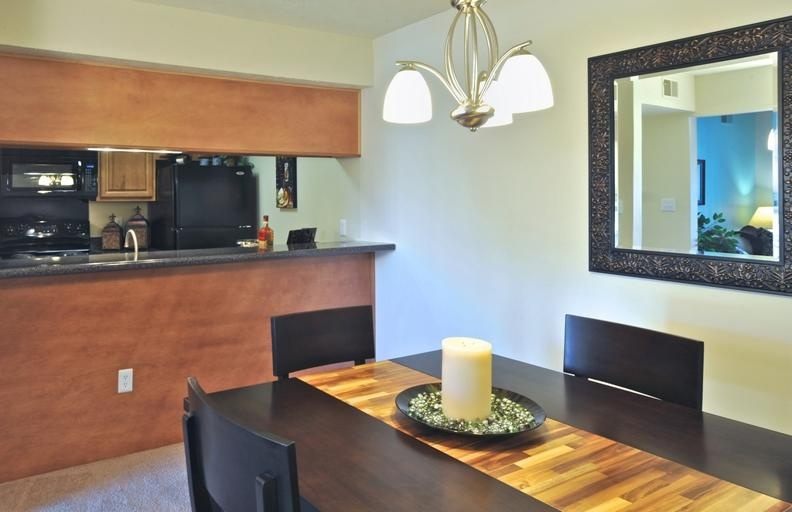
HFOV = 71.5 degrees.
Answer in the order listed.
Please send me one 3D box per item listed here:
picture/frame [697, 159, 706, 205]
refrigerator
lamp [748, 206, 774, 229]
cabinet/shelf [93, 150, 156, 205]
[{"bbox_3d":[1.490,-0.360,2.679,0.011,0.221,0.048,-4,8,-22],"label":"picture/frame"},{"bbox_3d":[-1.944,-0.511,5.441,0.852,1.485,0.820,5,-6,-25],"label":"refrigerator"},{"bbox_3d":[1.707,-0.179,2.563,0.095,0.096,0.095,3,9,36],"label":"lamp"},{"bbox_3d":[-2.669,-0.795,5.431,0.532,0.463,0.129,-8,10,-44],"label":"cabinet/shelf"}]
